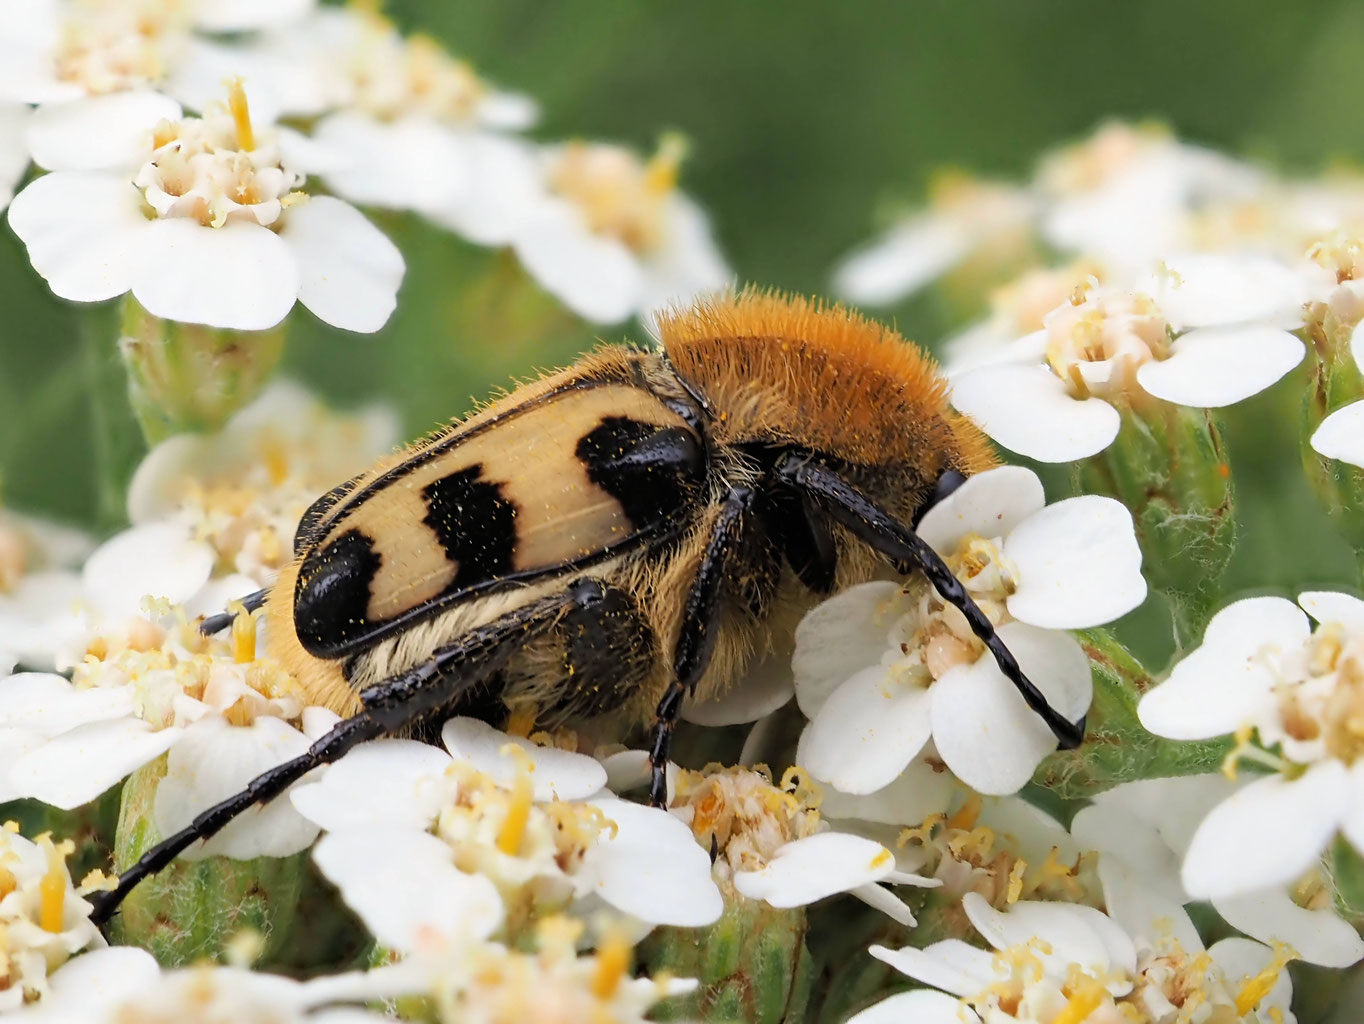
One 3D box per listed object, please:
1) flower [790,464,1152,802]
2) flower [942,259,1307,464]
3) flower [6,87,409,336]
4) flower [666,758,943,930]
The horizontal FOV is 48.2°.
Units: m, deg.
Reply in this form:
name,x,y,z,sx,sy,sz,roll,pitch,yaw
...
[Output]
name,x,y,z,sx,sy,sz,roll,pitch,yaw
flower,0.363,0.156,1.955,0.425,0.142,0.439,-36,64,34
flower,0.635,-0.227,2.151,0.349,0.157,0.343,-10,25,17
flower,-0.690,-0.418,2.189,0.387,0.408,0.218,49,121,36
flower,0.133,0.375,1.850,0.256,0.210,0.084,35,110,22
